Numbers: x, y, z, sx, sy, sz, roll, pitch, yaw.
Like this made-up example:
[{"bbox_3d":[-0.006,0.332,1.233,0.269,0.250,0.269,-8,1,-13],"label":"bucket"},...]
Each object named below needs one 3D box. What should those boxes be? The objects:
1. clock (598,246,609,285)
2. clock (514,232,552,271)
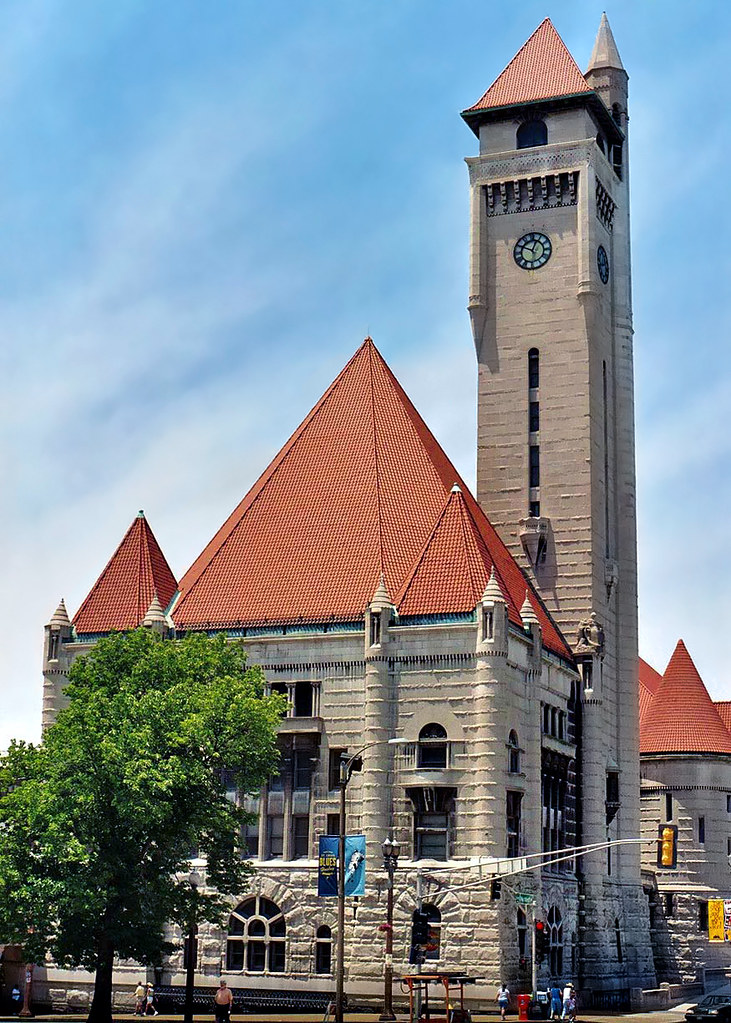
[{"bbox_3d":[10.446,-10.932,105.780,0.095,1.754,1.589,-6,-13,16],"label":"clock"},{"bbox_3d":[7.306,-11.300,103.866,1.397,1.703,0.216,1,-14,10],"label":"clock"}]
